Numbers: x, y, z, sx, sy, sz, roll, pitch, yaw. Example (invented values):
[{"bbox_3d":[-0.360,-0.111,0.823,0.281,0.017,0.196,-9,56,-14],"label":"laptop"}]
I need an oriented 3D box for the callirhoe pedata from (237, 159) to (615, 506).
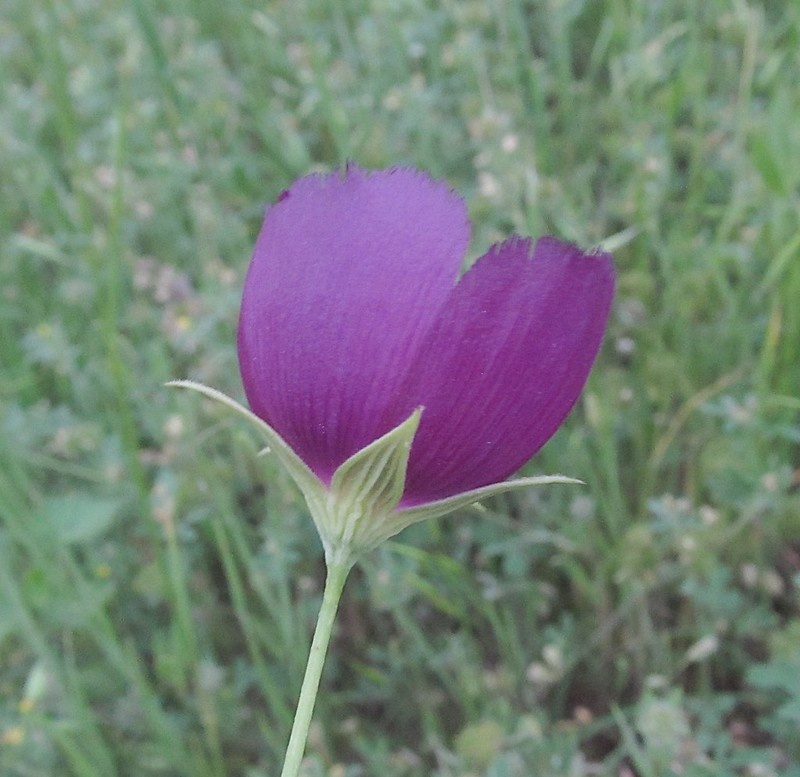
[{"bbox_3d":[0.002,-0.017,0.361,0.138,0.045,0.122,22,82,6],"label":"callirhoe pedata"}]
